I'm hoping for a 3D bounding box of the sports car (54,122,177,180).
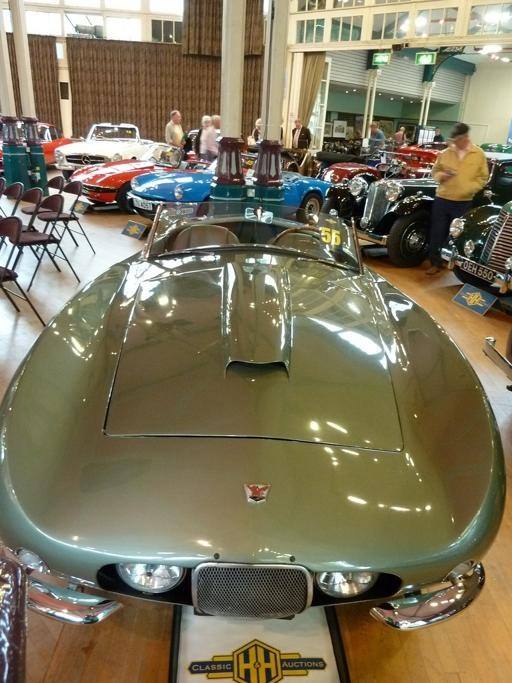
[{"bbox_3d":[-3.057,-3.961,9.307,1.937,1.162,3.040,6,22,11],"label":"sports car"}]

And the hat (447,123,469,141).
[{"bbox_3d":[1.962,-2.040,4.447,0.154,0.171,0.205,7,11,22],"label":"hat"}]

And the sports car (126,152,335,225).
[{"bbox_3d":[-0.409,-2.045,6.175,2.990,0.911,1.670,-7,23,-29],"label":"sports car"}]
